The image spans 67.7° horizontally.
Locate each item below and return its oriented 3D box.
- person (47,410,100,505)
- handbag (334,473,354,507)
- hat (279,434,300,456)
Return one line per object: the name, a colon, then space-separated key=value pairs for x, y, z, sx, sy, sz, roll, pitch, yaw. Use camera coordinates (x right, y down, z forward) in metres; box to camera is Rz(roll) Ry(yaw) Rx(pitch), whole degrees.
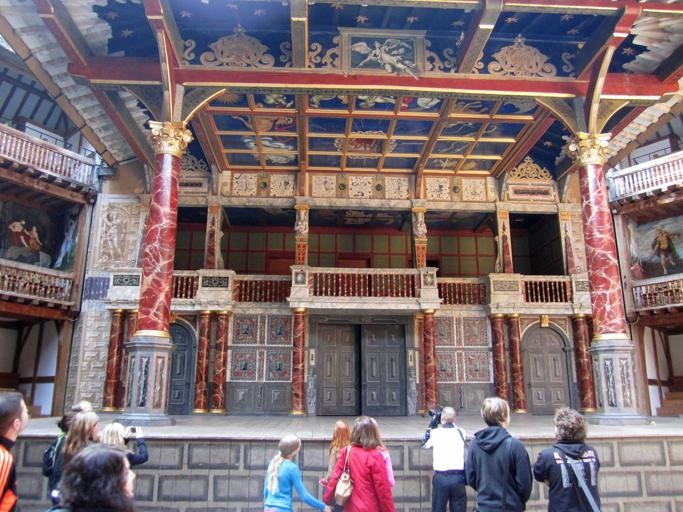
person: x=-3.145 y=2.276 z=5.975 sx=0.462 sy=0.946 sz=0.392 roll=9 pitch=14 yaw=3
handbag: x=0.021 y=2.618 z=5.726 sx=0.187 sy=0.347 sz=0.116 roll=4 pitch=-18 yaw=-14
hat: x=-0.624 y=2.152 z=5.832 sx=0.218 sy=0.212 sz=0.234 roll=3 pitch=-15 yaw=18
